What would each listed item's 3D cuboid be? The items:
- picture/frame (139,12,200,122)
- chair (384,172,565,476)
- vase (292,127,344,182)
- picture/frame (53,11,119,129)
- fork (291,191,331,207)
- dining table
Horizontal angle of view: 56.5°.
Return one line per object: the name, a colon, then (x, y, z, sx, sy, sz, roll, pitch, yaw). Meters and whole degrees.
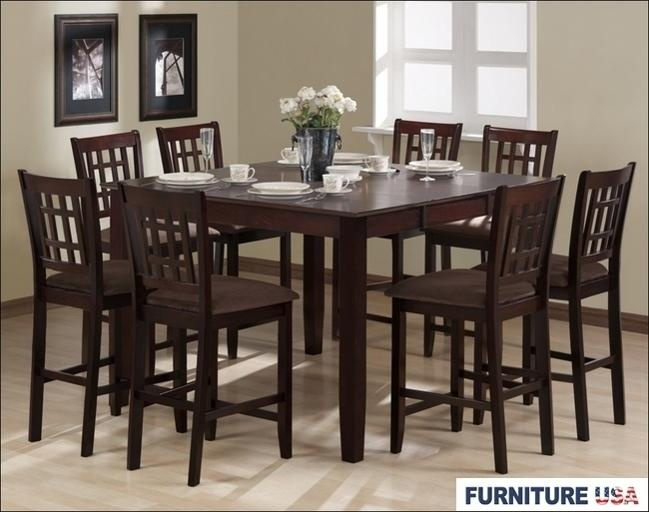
picture/frame: (-1.188, -1.436, 4.589, 0.034, 0.817, 0.534, 9, 14, 38)
chair: (0.593, 0.235, 2.345, 0.535, 1.059, 0.471, 3, 8, 40)
vase: (-0.030, -0.473, 2.905, 0.200, 0.206, 0.161, -2, -12, -28)
picture/frame: (-1.612, -1.261, 4.096, 0.051, 0.771, 0.496, 8, 13, 36)
fork: (-0.046, -0.238, 2.419, 0.053, 0.027, 0.173, 24, 22, 20)
dining table: (-0.065, -0.118, 2.787, 1.419, 0.945, 1.530, 6, 9, 37)
